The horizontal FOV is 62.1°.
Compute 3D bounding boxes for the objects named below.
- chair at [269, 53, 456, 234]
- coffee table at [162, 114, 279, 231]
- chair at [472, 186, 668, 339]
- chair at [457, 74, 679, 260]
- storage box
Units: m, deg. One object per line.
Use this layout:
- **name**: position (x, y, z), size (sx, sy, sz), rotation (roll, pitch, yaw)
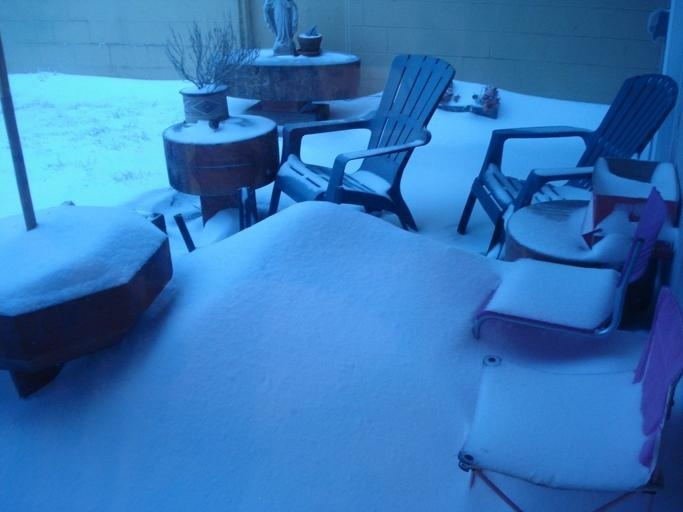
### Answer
- **chair**: position (0.119, -0.634, 3.285), size (0.908, 0.986, 0.789), rotation (-12, 27, -28)
- **coffee table**: position (-0.675, -0.520, 3.362), size (0.515, 0.566, 0.547), rotation (-2, 34, -4)
- **chair**: position (0.755, 0.003, 2.071), size (0.606, 0.580, 0.477), rotation (10, 40, 18)
- **chair**: position (1.195, -0.470, 3.179), size (1.021, 1.100, 0.808), rotation (-6, 41, 7)
- **storage box**: position (1.154, -0.302, 2.263), size (0.288, 0.298, 0.318), rotation (2, 32, 15)
